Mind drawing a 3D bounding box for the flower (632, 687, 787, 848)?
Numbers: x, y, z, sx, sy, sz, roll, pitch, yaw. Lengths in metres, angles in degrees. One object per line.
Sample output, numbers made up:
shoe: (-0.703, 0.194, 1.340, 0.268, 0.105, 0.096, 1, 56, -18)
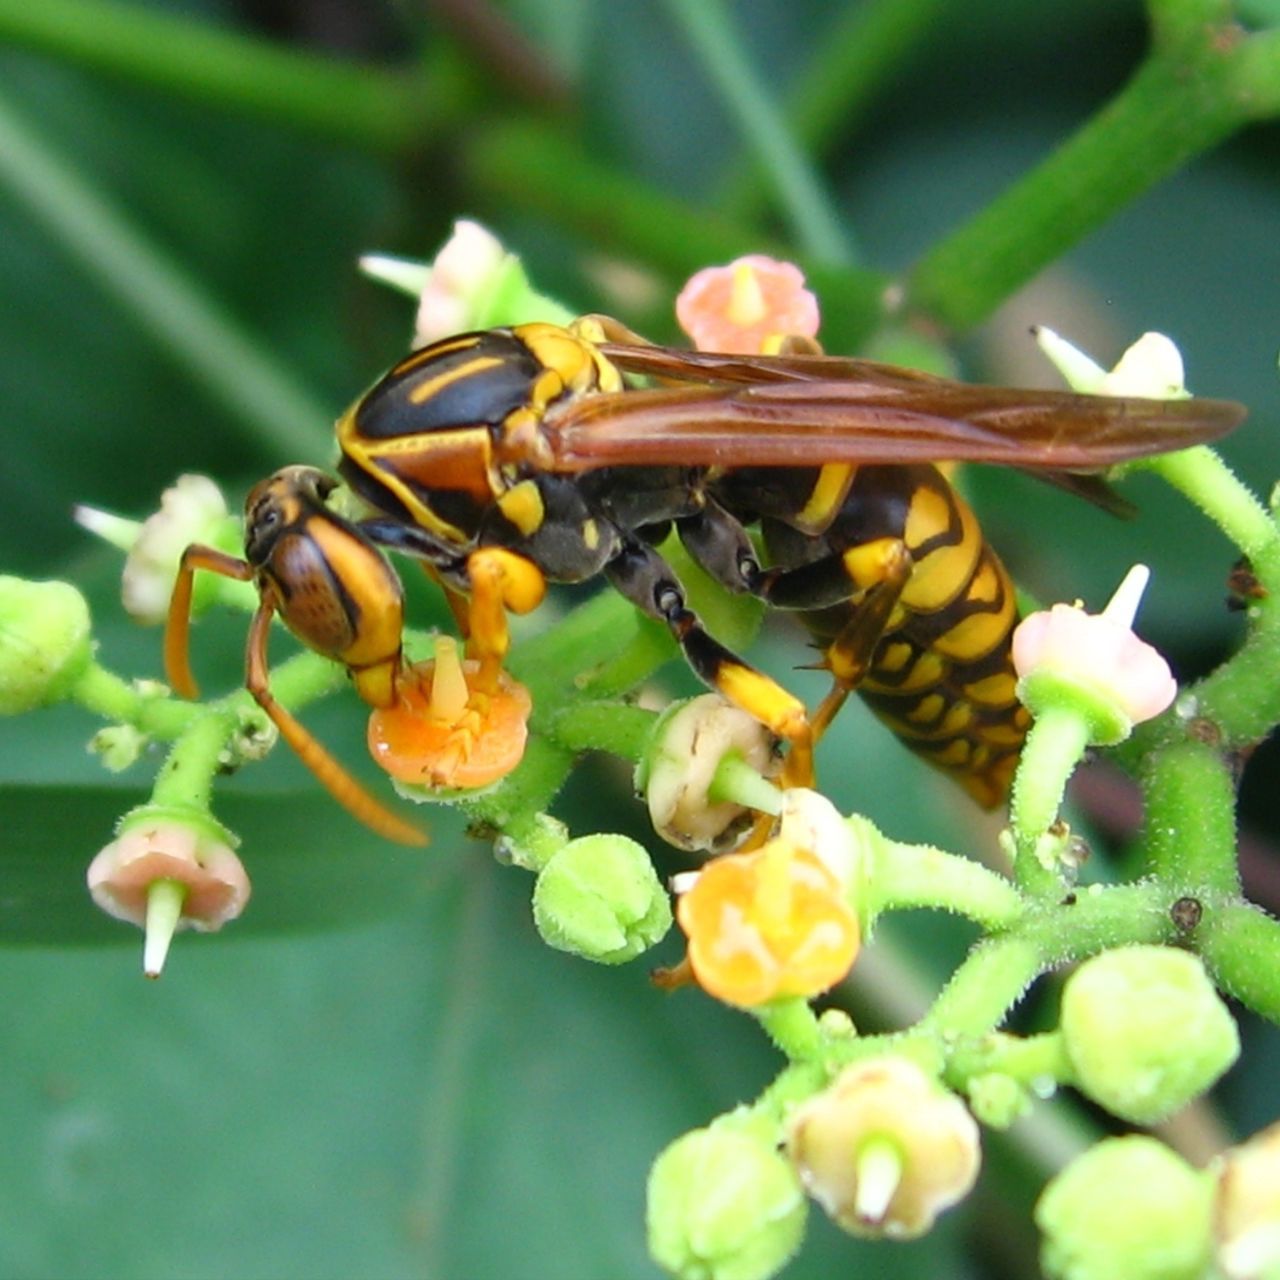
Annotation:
flower: (0.061, 0.111, 1.361, 0.113, 0.117, 0.084, 3, 23, -4)

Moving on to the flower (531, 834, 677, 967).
flower: (-0.019, 0.193, 1.242, 0.117, 0.094, 0.029, 31, -2, 42)

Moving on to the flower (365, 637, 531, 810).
flower: (-0.150, 0.071, 1.313, 0.138, 0.060, 0.128, -2, 58, -2)
